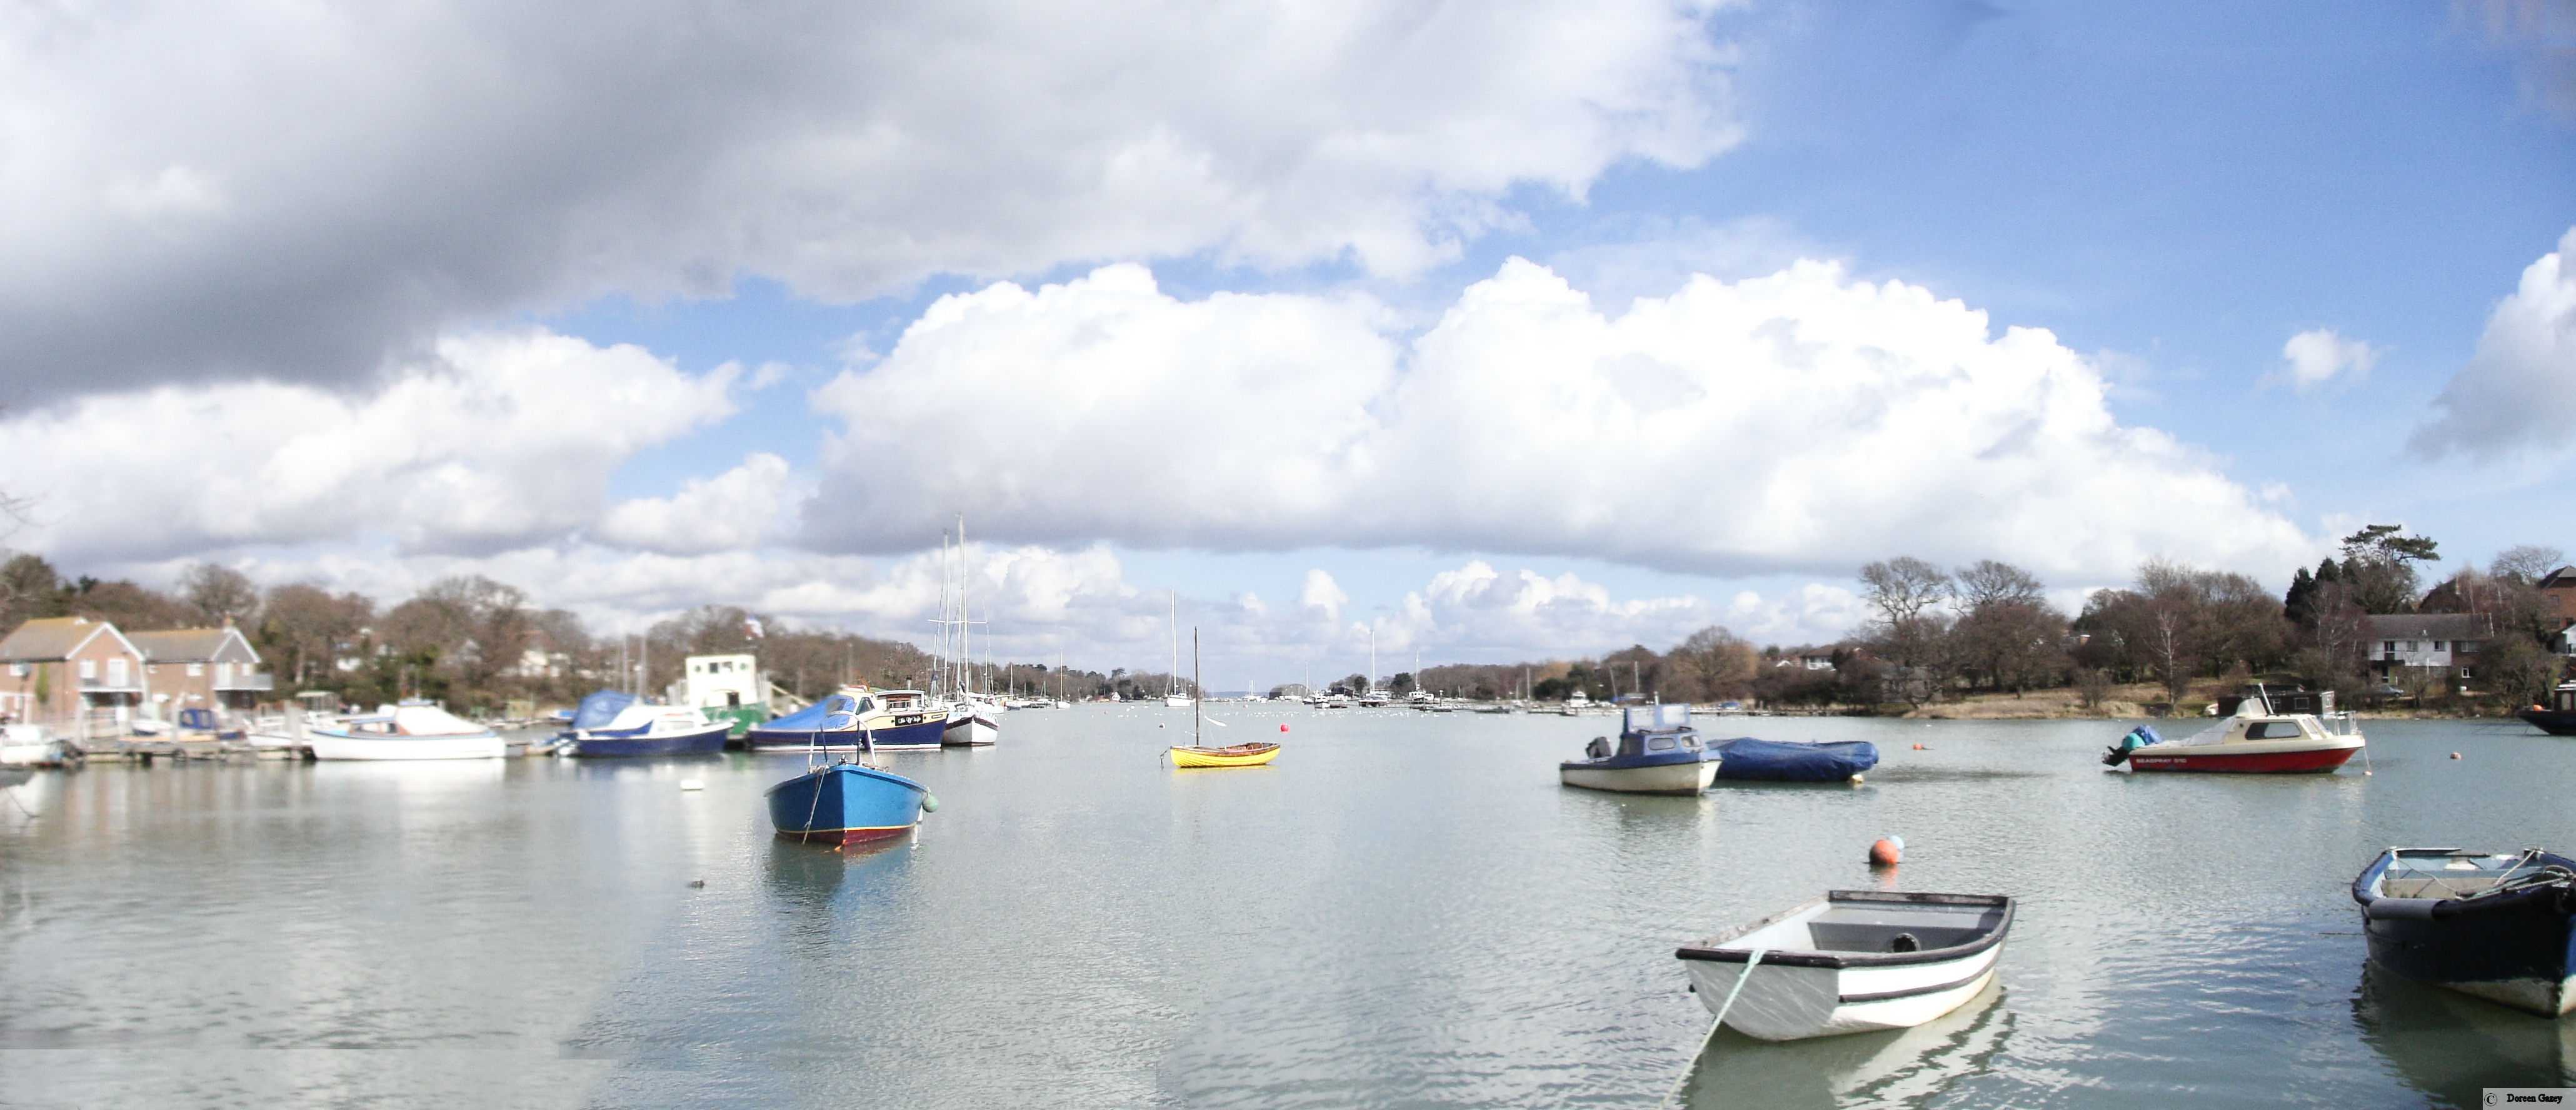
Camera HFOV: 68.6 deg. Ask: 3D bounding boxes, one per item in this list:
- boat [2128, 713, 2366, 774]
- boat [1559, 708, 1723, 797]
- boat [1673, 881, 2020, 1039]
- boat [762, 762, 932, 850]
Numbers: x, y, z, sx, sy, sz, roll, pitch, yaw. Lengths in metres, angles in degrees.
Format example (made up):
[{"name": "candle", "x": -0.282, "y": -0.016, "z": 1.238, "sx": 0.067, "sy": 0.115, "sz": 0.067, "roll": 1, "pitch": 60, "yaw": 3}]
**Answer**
[{"name": "boat", "x": 81.523, "y": 16.526, "z": 159.881, "sx": 15.219, "sy": 3.837, "sz": 7.203, "roll": -2, "pitch": -2, "yaw": 18}, {"name": "boat", "x": 29.850, "y": 16.275, "z": 156.268, "sx": 8.822, "sy": 7.652, "sz": 13.498, "roll": 5, "pitch": -9, "yaw": -39}, {"name": "boat", "x": 35.968, "y": 26.464, "z": 120.402, "sx": 17.240, "sy": 8.806, "sz": 34.838, "roll": -1, "pitch": -2, "yaw": 32}, {"name": "boat", "x": -32.247, "y": 18.704, "z": 141.535, "sx": 10.309, "sy": 6.372, "sz": 16.021, "roll": 1, "pitch": -2, "yaw": 4}]
